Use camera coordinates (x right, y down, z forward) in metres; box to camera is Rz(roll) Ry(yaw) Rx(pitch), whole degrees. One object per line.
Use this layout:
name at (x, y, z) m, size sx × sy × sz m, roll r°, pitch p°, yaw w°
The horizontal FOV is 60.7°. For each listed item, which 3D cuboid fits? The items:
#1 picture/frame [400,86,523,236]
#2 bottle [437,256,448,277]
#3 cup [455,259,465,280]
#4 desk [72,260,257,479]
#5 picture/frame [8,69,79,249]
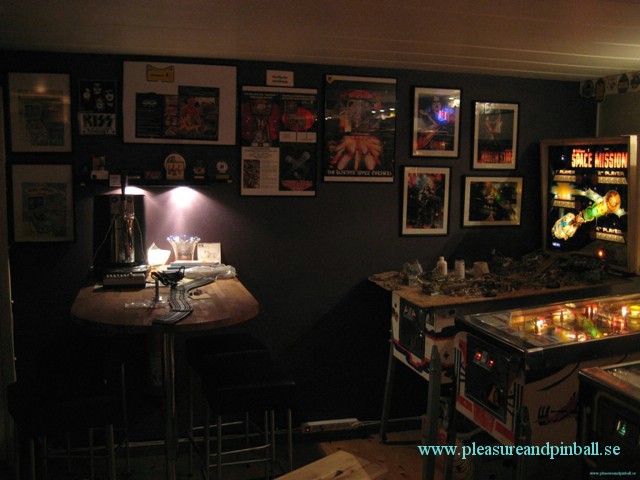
picture/frame at (1.264, -0.691, 4.904) m, size 1.078 × 1.282 × 0.042 m, roll -1°, pitch 8°, yaw -15°
bottle at (0.999, 0.215, 4.470) m, size 0.088 × 0.146 × 0.192 m, roll 3°, pitch 8°, yaw 11°
cup at (1.137, 0.241, 4.428) m, size 0.067 × 0.141 × 0.049 m, roll 2°, pitch 8°, yaw 1°
desk at (-0.988, 0.604, 4.072) m, size 1.475 × 1.615 × 1.490 m, roll 1°, pitch 11°, yaw -8°
picture/frame at (-2.110, -0.625, 4.180) m, size 0.416 × 1.259 × 0.154 m, roll -2°, pitch 9°, yaw -22°
